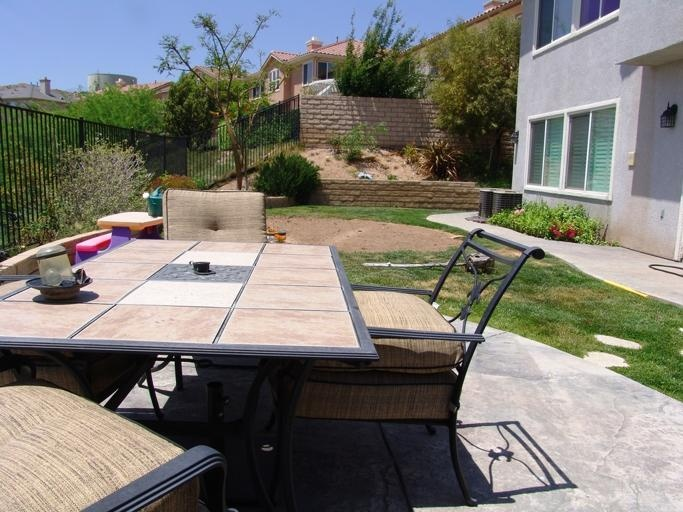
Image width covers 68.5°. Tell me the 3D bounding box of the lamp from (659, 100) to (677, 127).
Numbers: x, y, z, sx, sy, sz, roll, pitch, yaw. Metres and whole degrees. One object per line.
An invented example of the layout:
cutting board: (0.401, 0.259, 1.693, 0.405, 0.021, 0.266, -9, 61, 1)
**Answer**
lamp: (5.410, -2.343, 8.300, 0.136, 0.421, 0.371, 4, 14, 6)

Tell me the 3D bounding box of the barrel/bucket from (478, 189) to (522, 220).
barrel/bucket: (3.999, -1.351, 12.741, 0.871, 0.596, 0.942, 1, 13, 0)

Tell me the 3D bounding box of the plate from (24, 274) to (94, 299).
plate: (-1.271, 0.139, 2.251, 0.265, 0.085, 0.213, 0, 13, -10)
